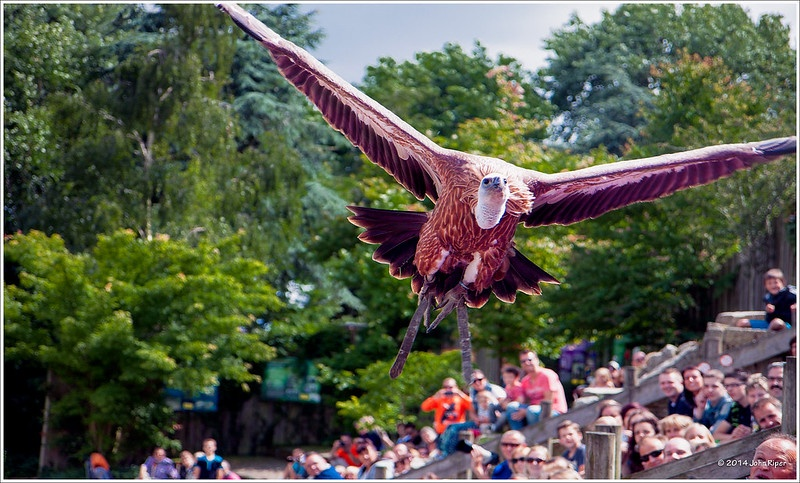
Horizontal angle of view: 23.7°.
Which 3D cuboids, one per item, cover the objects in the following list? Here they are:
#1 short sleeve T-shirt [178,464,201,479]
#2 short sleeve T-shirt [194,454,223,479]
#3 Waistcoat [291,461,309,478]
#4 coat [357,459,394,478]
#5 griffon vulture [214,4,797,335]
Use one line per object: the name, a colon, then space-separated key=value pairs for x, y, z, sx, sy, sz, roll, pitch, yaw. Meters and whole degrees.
short sleeve T-shirt: x=-4.089 y=4.470 z=36.773 sx=0.339 sy=0.295 sz=0.136 roll=-4 pitch=-1 yaw=27
short sleeve T-shirt: x=-3.675 y=4.391 z=36.887 sx=0.751 sy=0.596 sz=0.406 roll=1 pitch=-21 yaw=-7
Waistcoat: x=-1.856 y=4.318 z=35.777 sx=0.124 sy=0.305 sz=0.373 roll=12 pitch=-18 yaw=-43
coat: x=-0.452 y=4.278 z=35.536 sx=0.447 sy=0.175 sz=0.445 roll=-1 pitch=0 yaw=36
griffon vulture: x=2.661 y=-1.134 z=40.367 sx=7.976 sy=3.148 sz=3.119 roll=13 pitch=-19 yaw=1
